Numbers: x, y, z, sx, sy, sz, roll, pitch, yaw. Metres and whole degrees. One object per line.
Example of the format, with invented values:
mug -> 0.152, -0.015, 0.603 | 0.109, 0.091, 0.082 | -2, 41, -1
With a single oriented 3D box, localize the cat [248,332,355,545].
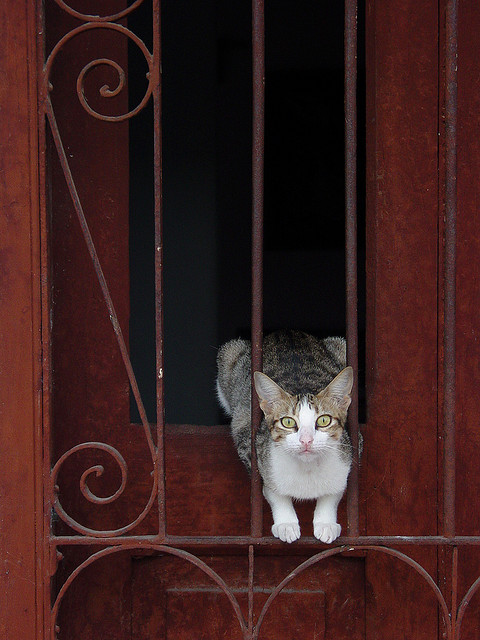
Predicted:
cat -> 0.164, 0.274, 3.703 | 0.251, 0.862, 0.619 | -3, -64, -5
